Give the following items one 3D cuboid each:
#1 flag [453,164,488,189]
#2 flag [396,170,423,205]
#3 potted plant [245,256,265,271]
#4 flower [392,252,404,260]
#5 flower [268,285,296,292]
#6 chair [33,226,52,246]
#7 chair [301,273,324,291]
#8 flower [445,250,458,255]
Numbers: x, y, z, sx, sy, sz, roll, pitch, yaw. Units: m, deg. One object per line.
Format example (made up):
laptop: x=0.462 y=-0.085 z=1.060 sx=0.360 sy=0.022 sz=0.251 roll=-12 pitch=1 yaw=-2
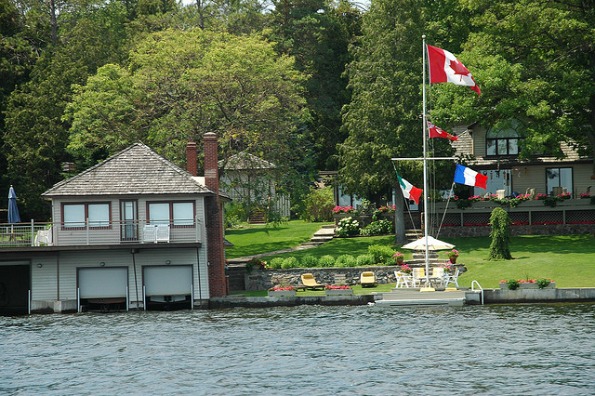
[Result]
flag: x=15.334 y=-1.929 z=117.151 sx=2.708 sy=1.796 sz=0.458 roll=17 pitch=-18 yaw=10
flag: x=10.119 y=-0.876 z=112.594 sx=3.183 sy=2.280 sz=0.842 roll=-5 pitch=-49 yaw=1
potted plant: x=-3.999 y=6.040 z=117.748 sx=1.343 sy=0.778 sz=1.238 roll=2 pitch=-4 yaw=-14
flower: x=9.021 y=5.258 z=117.418 sx=0.724 sy=0.419 sz=0.670 roll=-1 pitch=3 yaw=-8
flower: x=-1.372 y=7.870 z=113.677 sx=2.234 sy=0.541 sz=1.531 roll=-2 pitch=-4 yaw=-2
chair: x=-22.123 y=3.303 z=112.938 sx=1.704 sy=1.641 sz=1.034 roll=-2 pitch=-4 yaw=3
chair: x=1.270 y=7.414 z=115.913 sx=1.980 sy=1.541 sz=1.461 roll=-2 pitch=-4 yaw=0
flower: x=13.696 y=4.871 z=116.002 sx=0.591 sy=0.358 sz=0.597 roll=0 pitch=0 yaw=40
